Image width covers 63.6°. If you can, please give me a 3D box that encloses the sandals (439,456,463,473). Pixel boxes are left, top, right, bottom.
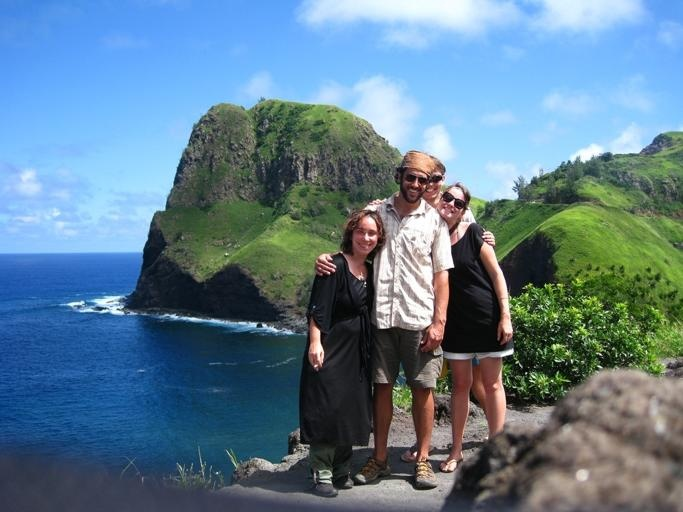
[{"bbox_3d":[1.079,2.081,5.486,0.117,0.070,0.296,-4,-9,25],"label":"sandals"}]

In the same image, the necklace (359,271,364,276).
[{"bbox_3d":[0.196,0.175,5.362,0.031,0.042,0.011,18,12,13],"label":"necklace"}]

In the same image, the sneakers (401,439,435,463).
[{"bbox_3d":[0.807,2.131,6.042,0.195,0.223,0.580,0,-14,14],"label":"sneakers"}]

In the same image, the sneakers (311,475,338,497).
[{"bbox_3d":[-0.161,2.078,4.899,0.100,0.103,0.260,7,-20,-25],"label":"sneakers"}]

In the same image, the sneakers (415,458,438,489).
[{"bbox_3d":[0.779,2.014,5.082,0.219,0.228,0.187,0,2,11],"label":"sneakers"}]

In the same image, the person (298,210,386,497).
[{"bbox_3d":[-0.009,0.891,5.191,0.548,2.625,0.899,2,3,42],"label":"person"}]

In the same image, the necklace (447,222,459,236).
[{"bbox_3d":[1.151,-0.275,5.636,0.097,0.025,0.102,-31,-1,30],"label":"necklace"}]
